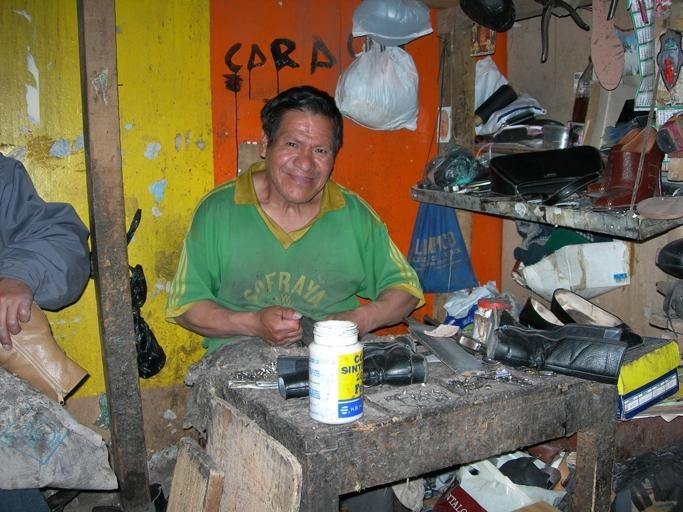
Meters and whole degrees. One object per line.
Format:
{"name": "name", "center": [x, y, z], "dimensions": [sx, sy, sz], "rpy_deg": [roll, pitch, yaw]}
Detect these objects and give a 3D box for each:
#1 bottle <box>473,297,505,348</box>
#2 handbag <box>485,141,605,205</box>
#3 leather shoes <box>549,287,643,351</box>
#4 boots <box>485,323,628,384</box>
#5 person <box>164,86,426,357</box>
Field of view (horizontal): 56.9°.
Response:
{"name": "bottle", "center": [0.636, 0.293, 2.716], "dimensions": [0.095, 0.184, 0.102], "rpy_deg": [9, 8, -1]}
{"name": "handbag", "center": [0.928, -0.379, 2.832], "dimensions": [0.341, 0.151, 0.320], "rpy_deg": [-3, 8, 34]}
{"name": "leather shoes", "center": [1.057, 0.249, 2.711], "dimensions": [0.162, 0.152, 0.460], "rpy_deg": [-27, 39, -27]}
{"name": "boots", "center": [0.802, 0.347, 2.382], "dimensions": [0.393, 0.164, 0.251], "rpy_deg": [4, 34, 21]}
{"name": "person", "center": [-0.277, -0.174, 3.040], "dimensions": [1.091, 1.114, 0.750], "rpy_deg": [-4, 28, -18]}
